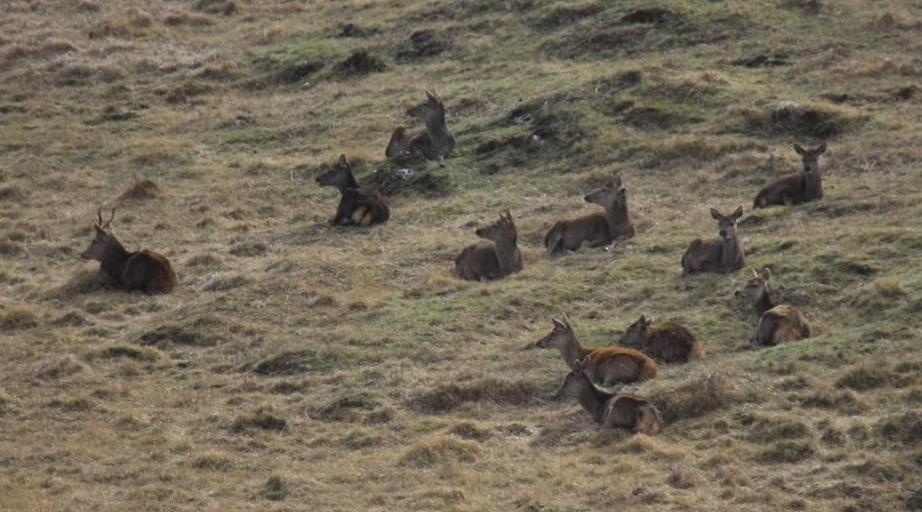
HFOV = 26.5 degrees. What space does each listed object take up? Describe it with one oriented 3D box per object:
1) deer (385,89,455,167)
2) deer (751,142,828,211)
[{"bbox_3d":[-1.819,-5.998,87.893,3.442,3.305,1.442,-40,4,32],"label":"deer"},{"bbox_3d":[13.335,-3.462,79.548,2.549,2.463,0.891,2,15,9],"label":"deer"}]
